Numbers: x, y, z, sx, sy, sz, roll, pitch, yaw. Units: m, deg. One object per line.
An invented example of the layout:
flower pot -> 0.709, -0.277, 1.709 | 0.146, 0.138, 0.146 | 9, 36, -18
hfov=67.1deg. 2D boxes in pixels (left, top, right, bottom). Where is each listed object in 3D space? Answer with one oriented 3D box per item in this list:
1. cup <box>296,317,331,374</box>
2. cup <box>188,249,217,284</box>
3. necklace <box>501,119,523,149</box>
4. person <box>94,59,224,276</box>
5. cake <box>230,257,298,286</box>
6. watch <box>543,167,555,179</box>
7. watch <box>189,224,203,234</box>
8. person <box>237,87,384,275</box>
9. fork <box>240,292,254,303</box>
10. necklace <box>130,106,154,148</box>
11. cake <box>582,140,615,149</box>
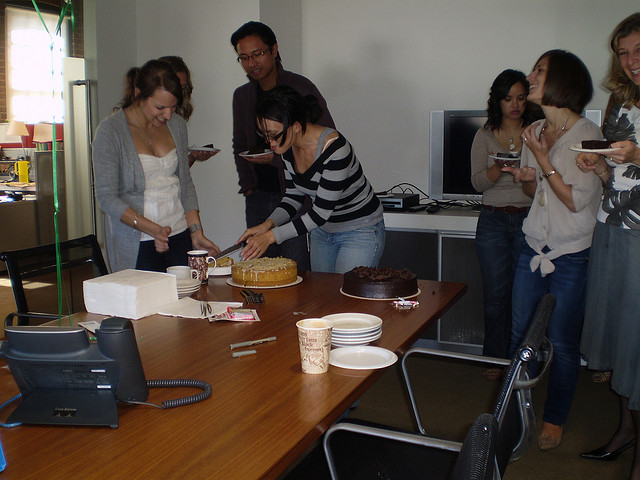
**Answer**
cup -> -0.014, 0.311, 1.461 | 0.128, 0.148, 0.127 | -2, 1, 0
cup -> -0.519, 0.126, 2.298 | 0.161, 0.174, 0.108 | 1, 5, 3
necklace -> 1.246, -0.682, 3.165 | 0.131, 0.167, 0.067 | 4, 14, 15
person -> -0.904, -0.373, 2.599 | 0.547, 1.135, 0.760 | -3, 14, -12
cake -> -0.282, 0.146, 2.311 | 0.269, 0.093, 0.276 | -5, -10, -16
watch -> 1.118, -0.324, 2.381 | 0.058, 0.047, 0.044 | 13, 19, 41
watch -> -0.702, -0.059, 2.753 | 0.061, 0.041, 0.060 | -12, 8, -39
person -> -0.035, -0.238, 2.384 | 0.431, 0.963, 0.776 | 10, 17, 34
fork -> -0.302, 0.243, 2.018 | 0.021, 0.006, 0.080 | -19, 18, -15
necklace -> -0.952, -0.607, 2.578 | 0.010, 0.249, 0.143 | 3, 21, 35
cake -> 1.182, -0.407, 2.068 | 0.096, 0.033, 0.108 | -6, 16, -23
